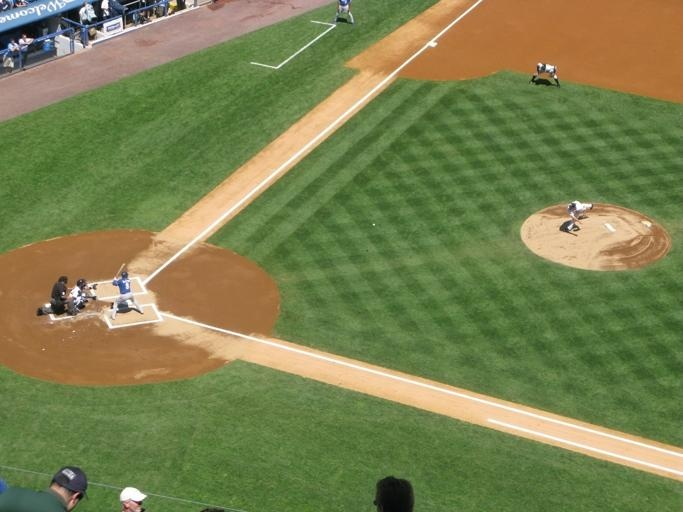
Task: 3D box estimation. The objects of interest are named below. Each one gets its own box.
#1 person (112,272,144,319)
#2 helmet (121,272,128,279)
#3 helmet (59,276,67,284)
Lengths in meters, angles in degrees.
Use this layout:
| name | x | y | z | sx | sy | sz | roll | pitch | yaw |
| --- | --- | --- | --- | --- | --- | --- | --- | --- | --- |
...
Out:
| name | x | y | z | sx | sy | sz | roll | pitch | yaw |
| --- | --- | --- | --- | --- | --- | --- | --- | --- | --- |
| person | -9.739 | 1.756 | 52.157 | 1.371 | 2.137 | 1.410 | 2 | 11 | -9 |
| helmet | -9.747 | 0.897 | 51.516 | 0.323 | 0.277 | 0.343 | 3 | 20 | -7 |
| helmet | -12.559 | 1.113 | 51.450 | 0.334 | 0.322 | 0.393 | 12 | -8 | 33 |
